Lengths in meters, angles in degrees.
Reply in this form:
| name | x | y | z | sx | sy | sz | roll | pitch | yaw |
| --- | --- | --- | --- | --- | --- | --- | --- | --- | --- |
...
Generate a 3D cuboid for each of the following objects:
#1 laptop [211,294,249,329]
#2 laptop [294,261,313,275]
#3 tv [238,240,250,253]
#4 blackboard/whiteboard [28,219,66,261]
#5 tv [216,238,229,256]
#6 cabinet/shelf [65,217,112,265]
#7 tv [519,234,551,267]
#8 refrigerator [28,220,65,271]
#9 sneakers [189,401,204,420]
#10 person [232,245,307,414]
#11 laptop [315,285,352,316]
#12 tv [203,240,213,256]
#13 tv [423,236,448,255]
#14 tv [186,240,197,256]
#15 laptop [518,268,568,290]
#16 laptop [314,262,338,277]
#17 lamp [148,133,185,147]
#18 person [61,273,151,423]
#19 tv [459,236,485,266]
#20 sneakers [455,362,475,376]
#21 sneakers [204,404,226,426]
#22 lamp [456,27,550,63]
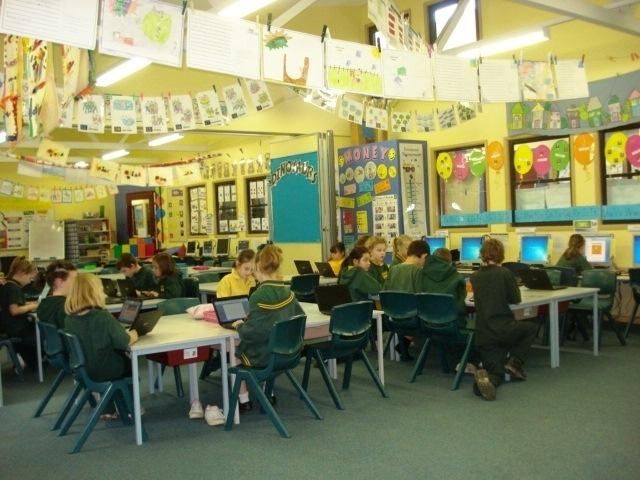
| name | x | y | z | sx | sy | sz | roll | pitch | yaw |
| --- | --- | --- | --- | --- | --- | --- | --- | --- | --- |
| laptop | -0.847 | 0.634 | 4.740 | 0.350 | 0.206 | 0.263 | -6 | 2 | -39 |
| laptop | -0.269 | 0.442 | 8.321 | 0.225 | 0.203 | 0.305 | -24 | -5 | -20 |
| tv | -1.730 | 0.127 | 11.470 | 0.169 | 0.300 | 0.310 | 3 | -4 | -35 |
| blackboard/whiteboard | -8.006 | -0.020 | 14.824 | 1.003 | 1.208 | 0.728 | 0 | 5 | -34 |
| tv | -2.606 | 0.194 | 13.595 | 0.458 | 0.455 | 0.165 | -1 | -9 | 34 |
| cabinet/shelf | -7.393 | 0.098 | 15.904 | 0.546 | 1.585 | 1.647 | -6 | -3 | 28 |
| tv | 3.499 | 0.176 | 8.163 | 0.071 | 0.501 | 0.518 | 4 | -3 | -41 |
| refrigerator | -8.063 | -0.018 | 14.941 | 1.166 | 1.502 | 0.883 | 0 | 3 | -36 |
| sneakers | -1.151 | 1.591 | 4.723 | 0.098 | 0.070 | 0.177 | 1 | 11 | -9 |
| person | -0.468 | 0.595 | 4.450 | 0.573 | 1.111 | 0.736 | -4 | 4 | -24 |
| laptop | 0.087 | 0.623 | 5.240 | 0.425 | 0.280 | 0.306 | -4 | -12 | -31 |
| tv | -3.125 | 0.235 | 14.080 | 0.381 | 0.520 | 0.054 | -7 | -14 | 35 |
| tv | 1.793 | 0.076 | 7.765 | 0.170 | 0.299 | 0.309 | -4 | 4 | -37 |
| tv | -3.659 | 0.231 | 14.425 | 0.411 | 0.466 | 0.052 | 4 | 4 | 36 |
| laptop | 2.747 | 0.410 | 6.254 | 0.329 | 0.214 | 0.358 | -3 | 3 | -39 |
| laptop | 0.108 | 0.453 | 7.809 | 0.230 | 0.218 | 0.321 | -22 | 16 | -36 |
| lamp | -3.611 | -2.377 | 11.883 | 1.411 | 0.203 | 0.126 | -1 | -2 | 41 |
| person | -1.807 | 0.725 | 4.156 | 0.567 | 0.911 | 0.358 | -3 | 3 | -15 |
| tv | 2.562 | 0.189 | 8.481 | 0.047 | 0.570 | 0.510 | 6 | -3 | -45 |
| sneakers | 1.541 | 1.404 | 5.436 | 0.261 | 0.092 | 0.178 | -1 | 2 | 19 |
| sneakers | -0.945 | 1.582 | 4.565 | 0.116 | 0.078 | 0.195 | 0 | 0 | -33 |
| lamp | 2.602 | -2.810 | 7.291 | 1.270 | 0.181 | 0.436 | 1 | 5 | 44 |
